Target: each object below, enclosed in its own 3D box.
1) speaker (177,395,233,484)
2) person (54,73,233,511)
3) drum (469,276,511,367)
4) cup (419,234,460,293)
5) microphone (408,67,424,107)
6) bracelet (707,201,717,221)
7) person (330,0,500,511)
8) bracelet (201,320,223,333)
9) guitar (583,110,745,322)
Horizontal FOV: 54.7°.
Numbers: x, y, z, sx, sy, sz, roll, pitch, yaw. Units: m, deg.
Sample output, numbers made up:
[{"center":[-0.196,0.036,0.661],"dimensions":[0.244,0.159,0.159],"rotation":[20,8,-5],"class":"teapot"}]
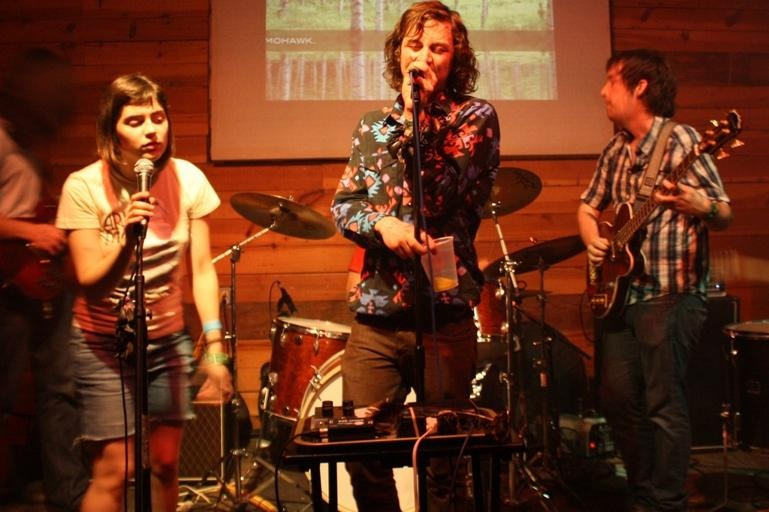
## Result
[{"center":[-1.317,1.341,5.285],"dimensions":[0.423,0.529,0.425],"rotation":[-18,-31,35],"class":"speaker"},{"center":[-1.281,0.190,3.922],"dimensions":[0.883,2.353,0.449],"rotation":[-2,-5,-9],"class":"person"},{"center":[0.732,0.430,5.282],"dimensions":[0.323,0.432,0.365],"rotation":[-2,-10,7],"class":"drum"},{"center":[0.260,0.035,3.466],"dimensions":[0.242,0.231,0.234],"rotation":[-13,0,0],"class":"cup"},{"center":[0.147,-0.780,3.440],"dimensions":[0.053,0.181,0.058],"rotation":[-1,-5,6],"class":"microphone"},{"center":[1.899,-0.260,4.294],"dimensions":[0.041,0.087,0.077],"rotation":[18,-30,-4],"class":"bracelet"},{"center":[0.155,-0.001,3.643],"dimensions":[0.843,2.579,0.562],"rotation":[-3,-5,11],"class":"person"},{"center":[-0.936,0.380,3.987],"dimensions":[0.077,0.047,0.076],"rotation":[-7,-16,27],"class":"bracelet"},{"center":[1.535,-0.162,4.503],"dimensions":[0.218,0.624,1.586],"rotation":[10,-38,-9],"class":"guitar"}]
